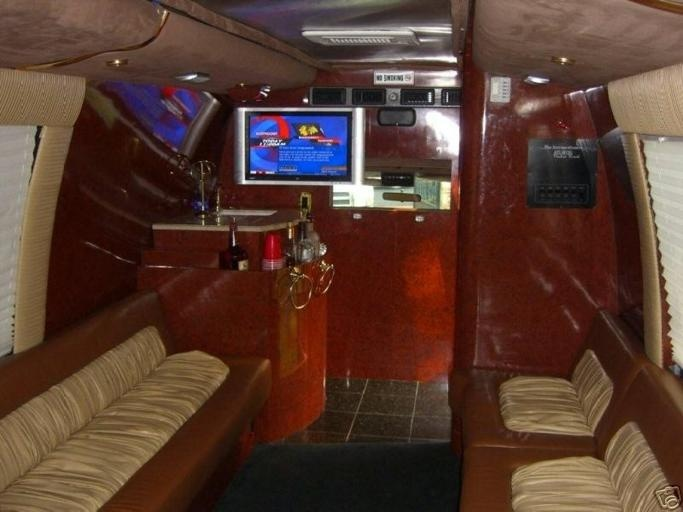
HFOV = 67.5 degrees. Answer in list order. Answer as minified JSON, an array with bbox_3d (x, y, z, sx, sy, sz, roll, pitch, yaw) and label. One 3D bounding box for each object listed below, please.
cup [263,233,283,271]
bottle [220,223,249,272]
[{"bbox_3d":[-0.458,-0.025,3.380,0.138,0.226,0.163,-1,8,-9],"label":"cup"},{"bbox_3d":[-0.716,-0.064,3.366,0.202,0.300,0.131,4,8,25],"label":"bottle"}]
